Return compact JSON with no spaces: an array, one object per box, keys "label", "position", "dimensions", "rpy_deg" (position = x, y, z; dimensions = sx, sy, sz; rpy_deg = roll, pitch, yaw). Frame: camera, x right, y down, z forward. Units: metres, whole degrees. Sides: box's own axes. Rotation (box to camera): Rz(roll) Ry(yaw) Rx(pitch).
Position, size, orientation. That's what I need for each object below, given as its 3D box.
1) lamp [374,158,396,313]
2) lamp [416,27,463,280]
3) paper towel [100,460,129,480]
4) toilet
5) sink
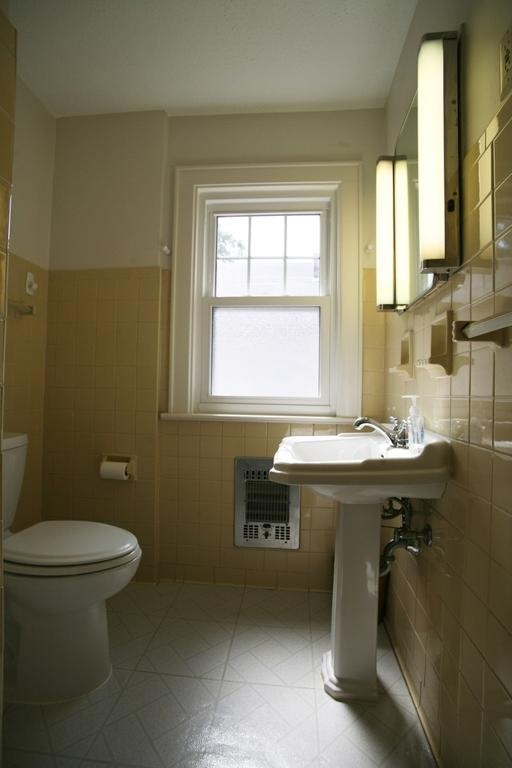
[{"label":"lamp","position":[0.419,-0.482,1.796],"dimensions":[0.067,0.485,0.052],"rpy_deg":[2,3,23]},{"label":"lamp","position":[0.428,-0.539,1.298],"dimensions":[0.106,0.542,0.075],"rpy_deg":[2,3,20]},{"label":"paper towel","position":[-0.565,0.332,2.228],"dimensions":[0.096,0.078,0.073],"rpy_deg":[0,1,15]},{"label":"toilet","position":[-0.493,0.553,1.965],"dimensions":[0.565,1.003,0.486],"rpy_deg":[0,2,-9]},{"label":"sink","position":[0.252,0.223,1.554],"dimensions":[0.428,0.227,0.527],"rpy_deg":[1,5,1]}]
